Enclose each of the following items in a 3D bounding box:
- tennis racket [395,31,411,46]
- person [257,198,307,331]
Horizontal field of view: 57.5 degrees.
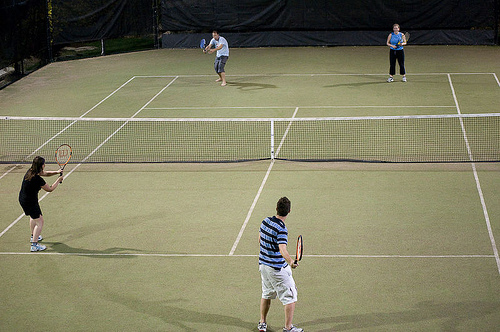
[{"bbox_3d":[6.235,-5.327,18.550,0.462,0.695,0.717,0,-18,14],"label":"tennis racket"},{"bbox_3d":[0.398,1.352,6.266,0.572,1.756,0.764,3,-17,7],"label":"person"}]
